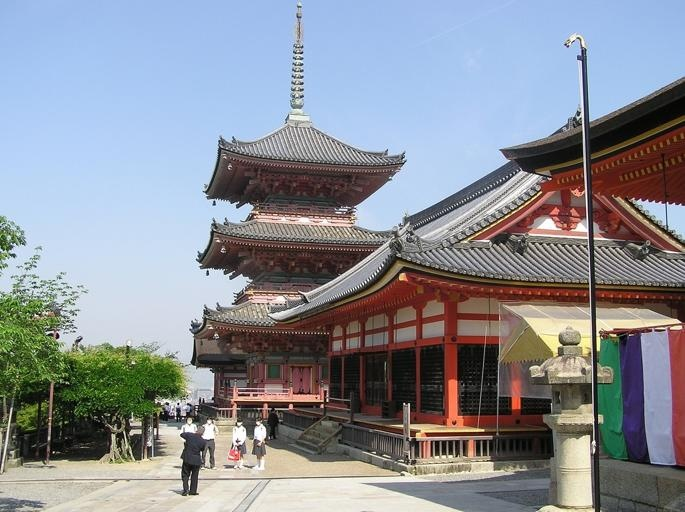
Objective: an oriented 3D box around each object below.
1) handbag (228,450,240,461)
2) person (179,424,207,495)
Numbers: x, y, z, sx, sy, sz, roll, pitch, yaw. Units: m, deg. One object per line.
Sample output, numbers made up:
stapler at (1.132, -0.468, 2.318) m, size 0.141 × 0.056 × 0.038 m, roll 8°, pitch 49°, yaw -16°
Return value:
handbag at (-3.935, 7.195, 29.134) m, size 0.383 × 0.428 × 0.655 m, roll 1°, pitch -16°, yaw -6°
person at (-4.492, 6.143, 23.829) m, size 0.705 × 1.849 × 1.390 m, roll 3°, pitch -18°, yaw -10°
